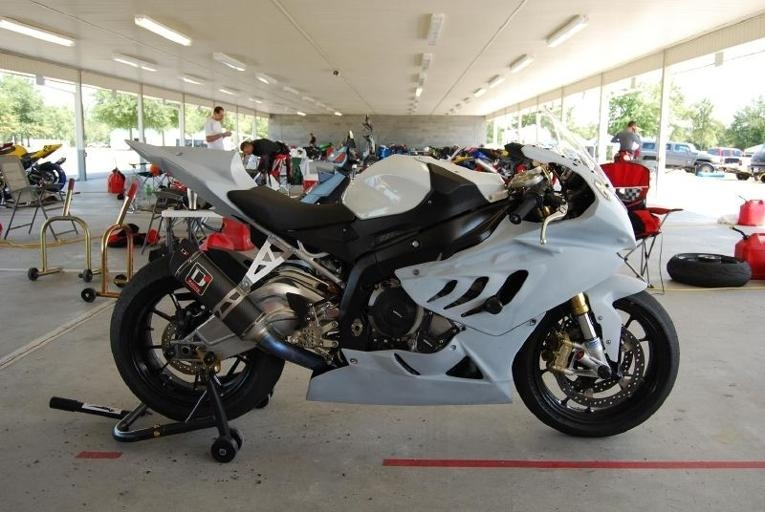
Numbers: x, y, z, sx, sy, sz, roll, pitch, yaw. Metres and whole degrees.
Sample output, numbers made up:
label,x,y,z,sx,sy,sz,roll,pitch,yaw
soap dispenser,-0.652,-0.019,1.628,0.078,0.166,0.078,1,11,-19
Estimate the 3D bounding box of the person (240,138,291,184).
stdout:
label,x,y,z,sx,sy,sz,roll,pitch,yaw
person,-2.346,-2.019,9.986,0.963,0.983,0.740,-26,22,-26
